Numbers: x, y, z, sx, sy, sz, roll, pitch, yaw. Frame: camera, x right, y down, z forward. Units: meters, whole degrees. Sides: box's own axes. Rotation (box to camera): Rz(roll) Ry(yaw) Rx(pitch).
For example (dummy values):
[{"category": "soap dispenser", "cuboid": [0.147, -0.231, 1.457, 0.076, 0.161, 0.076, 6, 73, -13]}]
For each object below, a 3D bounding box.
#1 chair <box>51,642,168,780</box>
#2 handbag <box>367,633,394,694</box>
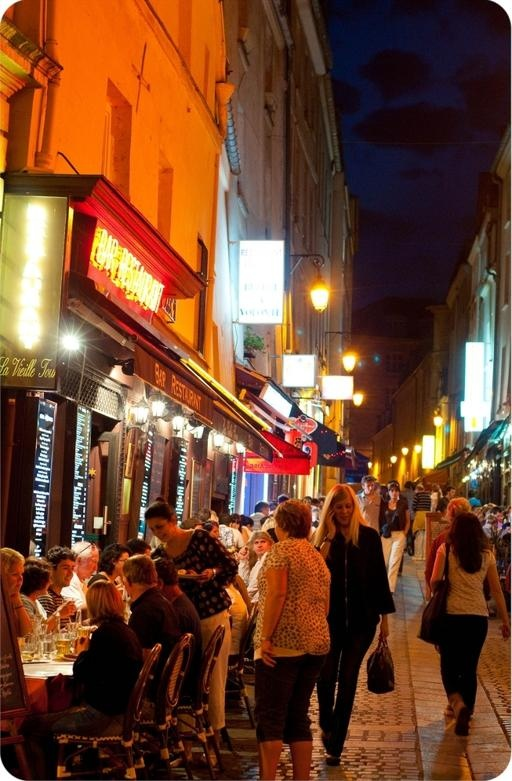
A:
[{"category": "chair", "cuboid": [-0.748, 1.623, 2.991, 0.453, 0.749, 0.723, 5, -9, -16]}, {"category": "handbag", "cuboid": [0.929, 2.042, 4.431, 0.176, 0.496, 0.444, 1, -8, 11]}]
